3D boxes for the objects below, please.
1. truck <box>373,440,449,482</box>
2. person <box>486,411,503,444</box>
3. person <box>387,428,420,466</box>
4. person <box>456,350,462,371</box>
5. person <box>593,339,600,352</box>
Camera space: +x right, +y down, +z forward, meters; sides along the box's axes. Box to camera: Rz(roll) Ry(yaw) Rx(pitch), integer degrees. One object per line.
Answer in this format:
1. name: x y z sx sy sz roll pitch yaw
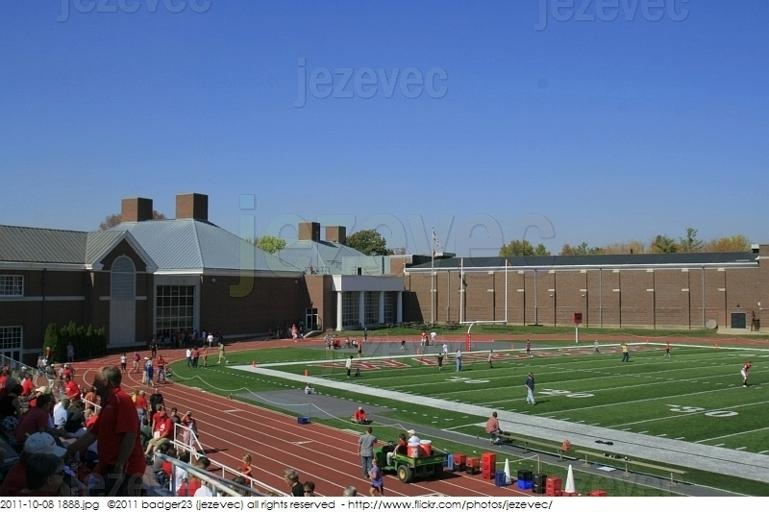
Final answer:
1. truck: 0.980 8.842 31.790 1.533 1.069 2.366 4 0 -40
2. person: 5.524 8.484 37.165 0.770 1.605 3.057 -2 -4 8
3. person: 0.968 8.239 31.715 1.841 1.152 1.022 -12 -6 7
4. person: 5.815 8.236 57.812 0.412 1.480 1.500 -2 -4 6
5. person: 20.964 8.944 73.097 0.740 0.917 2.537 15 8 17
